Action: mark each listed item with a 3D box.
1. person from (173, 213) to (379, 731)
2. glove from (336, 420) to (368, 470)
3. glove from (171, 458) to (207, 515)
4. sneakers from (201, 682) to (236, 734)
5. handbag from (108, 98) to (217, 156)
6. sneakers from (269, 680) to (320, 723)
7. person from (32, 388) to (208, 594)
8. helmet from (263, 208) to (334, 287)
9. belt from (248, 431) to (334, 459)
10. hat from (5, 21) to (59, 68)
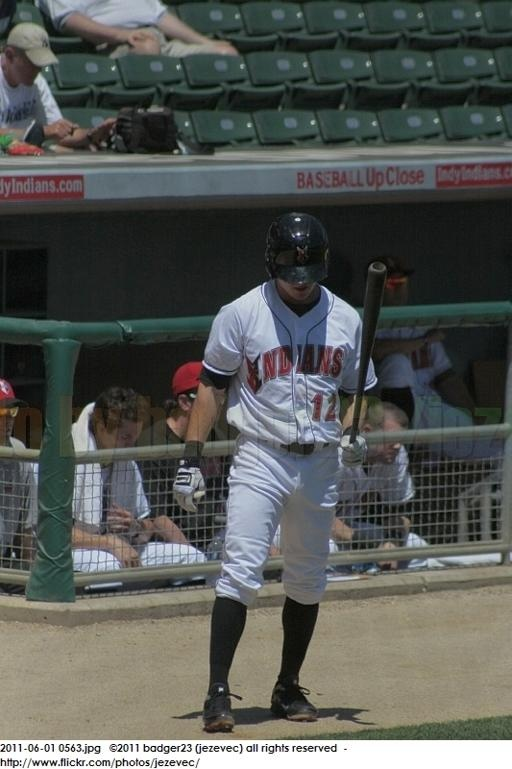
[{"bbox_3d":[0.054,0.250,4.738,0.579,1.657,0.400,3,0,-37],"label":"person"},{"bbox_3d":[0.307,0.196,4.920,0.058,0.143,0.112,4,-4,30],"label":"glove"},{"bbox_3d":[-0.221,0.325,4.758,0.096,0.167,0.233,3,0,-2],"label":"glove"},{"bbox_3d":[-0.116,0.998,4.547,0.099,0.144,0.177,3,0,-2],"label":"sneakers"},{"bbox_3d":[-0.589,-1.526,8.697,0.451,0.195,0.292,0,5,-10],"label":"handbag"},{"bbox_3d":[0.125,1.009,4.683,0.104,0.122,0.175,3,0,-35],"label":"sneakers"},{"bbox_3d":[-0.511,0.354,6.106,0.729,0.955,0.885,2,2,31],"label":"person"},{"bbox_3d":[0.138,-0.442,4.778,0.178,0.152,0.248,-1,42,-5],"label":"helmet"},{"bbox_3d":[0.116,0.199,4.675,0.262,0.059,0.059,3,0,-8],"label":"belt"},{"bbox_3d":[-1.329,-1.996,8.610,0.360,0.181,0.234,33,31,28],"label":"hat"}]
